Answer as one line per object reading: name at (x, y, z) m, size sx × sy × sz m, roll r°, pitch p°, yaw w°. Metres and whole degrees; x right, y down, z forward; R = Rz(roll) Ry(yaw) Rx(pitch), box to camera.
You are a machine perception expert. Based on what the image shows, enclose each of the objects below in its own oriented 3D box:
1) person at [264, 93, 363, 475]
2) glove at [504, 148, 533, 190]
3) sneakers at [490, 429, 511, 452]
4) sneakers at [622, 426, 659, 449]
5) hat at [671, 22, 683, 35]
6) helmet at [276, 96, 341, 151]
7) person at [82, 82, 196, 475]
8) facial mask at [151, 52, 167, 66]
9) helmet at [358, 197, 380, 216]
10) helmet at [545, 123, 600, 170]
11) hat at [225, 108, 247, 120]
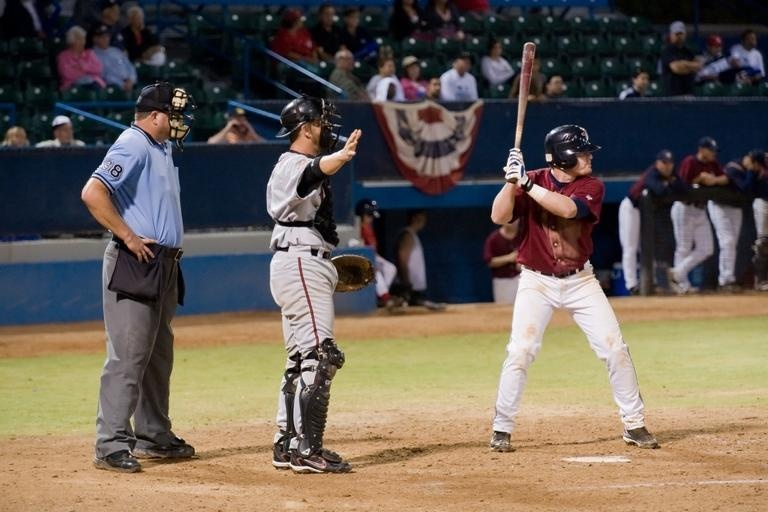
person at (-0.716, 0.276, 12.851) m, size 0.789 × 3.507 × 1.112 m, roll -1°, pitch 14°, yaw -3°
glove at (1.243, -0.812, 13.203) m, size 0.295 × 0.404 × 0.114 m, roll -30°, pitch 2°, yaw -34°
sneakers at (1.143, 1.853, 13.145) m, size 0.113 × 0.133 × 0.294 m, roll 2°, pitch -9°, yaw -10°
sneakers at (2.501, 1.803, 13.234) m, size 0.347 × 0.137 × 0.170 m, roll 4°, pitch 8°, yaw 42°
hat at (3.487, -2.704, 16.059) m, size 0.143 × 0.100 × 0.142 m, roll -3°, pitch 5°, yaw -28°
helmet at (-0.701, -1.283, 13.091) m, size 0.632 × 0.494 × 0.493 m, roll -8°, pitch 7°, yaw 11°
person at (-2.321, 0.193, 12.967) m, size 0.845 × 3.617 × 1.392 m, roll 3°, pitch 14°, yaw 14°
facial mask at (-3.622, -3.152, 21.737) m, size 0.277 × 0.237 × 0.246 m, roll -15°, pitch 8°, yaw -10°
helmet at (-0.207, -0.682, 19.556) m, size 0.255 × 0.245 × 0.301 m, roll -5°, pitch -20°, yaw 4°
helmet at (1.865, -1.099, 13.380) m, size 0.606 × 0.399 × 0.412 m, roll -7°, pitch 18°, yaw 11°
hat at (-2.134, -2.059, 19.661) m, size 0.372 × 0.140 × 0.492 m, roll 1°, pitch 1°, yaw -3°
